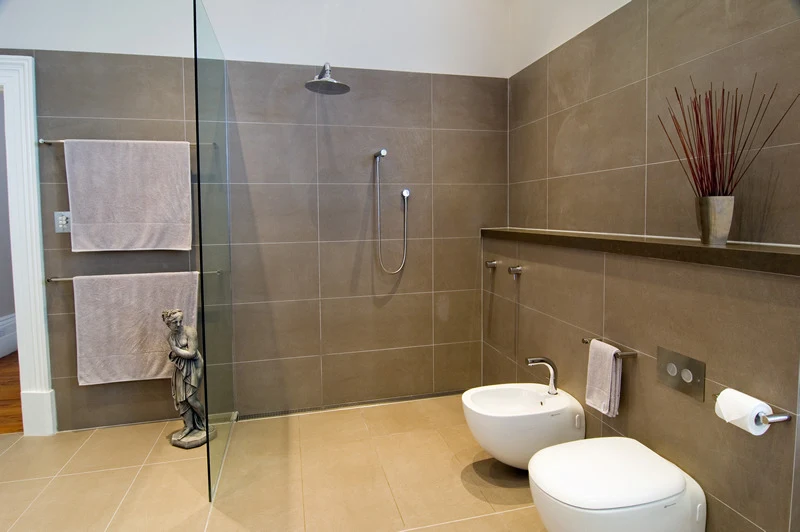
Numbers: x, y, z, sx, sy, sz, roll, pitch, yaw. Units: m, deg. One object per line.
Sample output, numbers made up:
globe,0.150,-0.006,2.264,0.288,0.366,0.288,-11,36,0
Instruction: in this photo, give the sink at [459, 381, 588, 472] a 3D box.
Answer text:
sink,0.744,0.921,3.556,0.634,0.405,0.519,-5,3,-15

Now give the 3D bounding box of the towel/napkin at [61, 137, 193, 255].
towel/napkin,-1.969,-0.515,4.043,0.804,0.761,0.120,0,8,-8

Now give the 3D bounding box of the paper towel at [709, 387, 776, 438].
paper towel,1.631,0.691,2.746,0.158,0.172,0.188,-14,18,-12

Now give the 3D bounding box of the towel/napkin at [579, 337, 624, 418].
towel/napkin,1.167,0.665,3.328,0.221,0.457,0.185,4,12,37

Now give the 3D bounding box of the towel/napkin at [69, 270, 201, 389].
towel/napkin,-1.924,0.437,4.084,0.813,0.806,0.097,-1,2,-14

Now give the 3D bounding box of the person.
person,-1.499,0.772,3.964,0.254,0.953,0.160,-7,11,-22

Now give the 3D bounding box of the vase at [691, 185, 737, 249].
vase,1.641,-0.227,3.005,0.181,0.255,0.184,-3,6,-31
